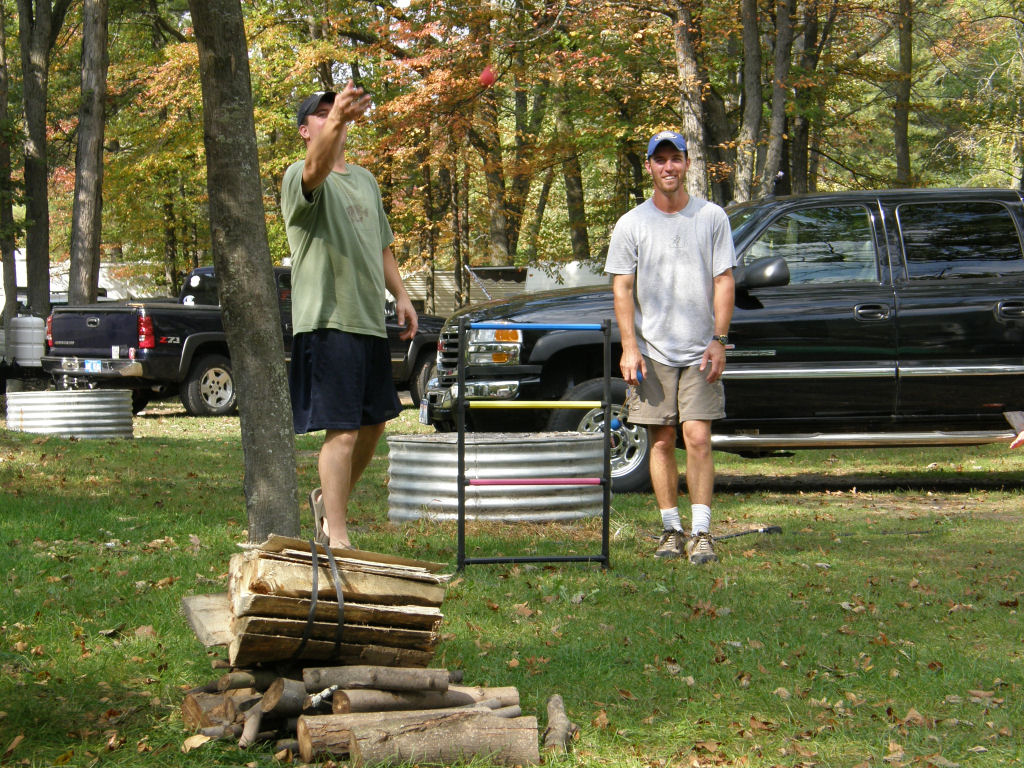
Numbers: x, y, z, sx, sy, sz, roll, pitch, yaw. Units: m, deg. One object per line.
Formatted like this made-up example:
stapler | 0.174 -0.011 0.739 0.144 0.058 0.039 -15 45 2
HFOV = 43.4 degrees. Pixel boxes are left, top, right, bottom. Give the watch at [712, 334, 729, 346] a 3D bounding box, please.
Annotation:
watch | 1.308 -0.288 8.103 0.098 0.062 0.089 5 -12 -28

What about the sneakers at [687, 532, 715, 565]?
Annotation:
sneakers | 1.183 1.001 8.003 0.162 0.152 0.284 2 8 8

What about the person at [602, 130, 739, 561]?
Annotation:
person | 0.999 -0.264 8.172 0.785 2.636 0.552 1 8 5

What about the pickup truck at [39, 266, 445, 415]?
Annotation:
pickup truck | -3.745 -0.491 18.695 5.450 2.023 2.737 -4 5 -37

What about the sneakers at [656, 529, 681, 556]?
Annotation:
sneakers | 0.992 0.997 8.132 0.145 0.163 0.386 0 -4 6

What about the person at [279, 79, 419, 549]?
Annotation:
person | -0.916 -0.357 6.915 0.676 2.386 0.981 1 8 5

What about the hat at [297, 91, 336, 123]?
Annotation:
hat | -1.042 -1.494 6.948 0.340 0.179 0.166 8 11 42
